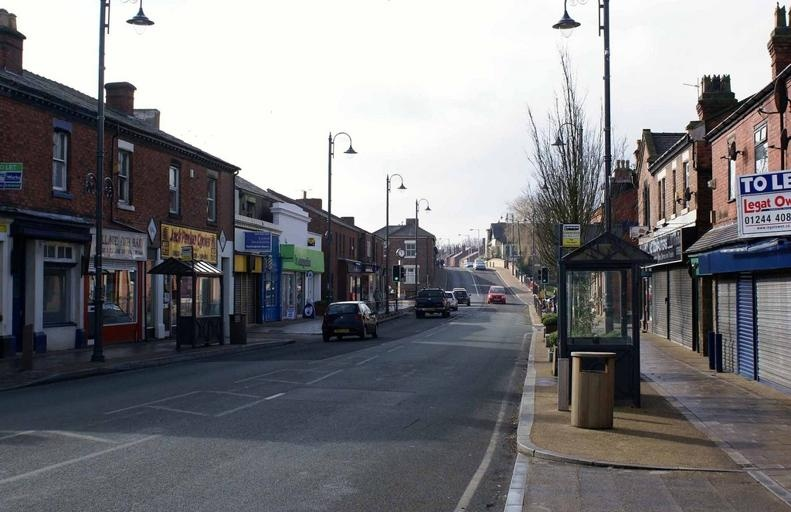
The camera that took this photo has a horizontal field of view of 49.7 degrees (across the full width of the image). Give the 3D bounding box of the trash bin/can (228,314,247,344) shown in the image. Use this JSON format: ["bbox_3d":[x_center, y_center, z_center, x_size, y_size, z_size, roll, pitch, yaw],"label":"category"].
[{"bbox_3d":[-6.518,2.993,35.328,0.665,1.290,1.089,-4,-6,-12],"label":"trash bin/can"}]

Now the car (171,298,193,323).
[{"bbox_3d":[-9.058,2.156,36.246,0.787,1.334,6.430,-3,-7,-14],"label":"car"}]
